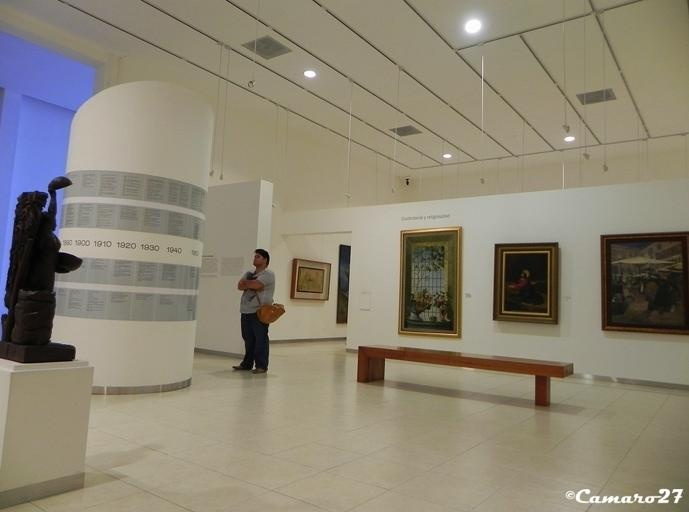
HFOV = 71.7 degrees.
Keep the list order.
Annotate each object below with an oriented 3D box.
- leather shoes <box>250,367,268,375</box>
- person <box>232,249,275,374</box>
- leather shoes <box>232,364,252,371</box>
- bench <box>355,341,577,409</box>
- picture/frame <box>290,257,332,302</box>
[{"bbox_3d":[-1.598,2.152,8.929,0.316,0.145,0.107,11,-19,-19],"label":"leather shoes"},{"bbox_3d":[-1.695,1.007,8.930,0.633,2.303,0.837,3,-3,-14],"label":"person"},{"bbox_3d":[-1.957,2.115,9.113,0.436,0.197,0.138,-4,-10,19],"label":"leather shoes"},{"bbox_3d":[1.788,1.960,7.990,3.362,0.703,0.684,1,-3,30],"label":"bench"},{"bbox_3d":[-1.111,0.771,15.679,1.630,1.232,0.171,3,-2,41],"label":"picture/frame"}]
